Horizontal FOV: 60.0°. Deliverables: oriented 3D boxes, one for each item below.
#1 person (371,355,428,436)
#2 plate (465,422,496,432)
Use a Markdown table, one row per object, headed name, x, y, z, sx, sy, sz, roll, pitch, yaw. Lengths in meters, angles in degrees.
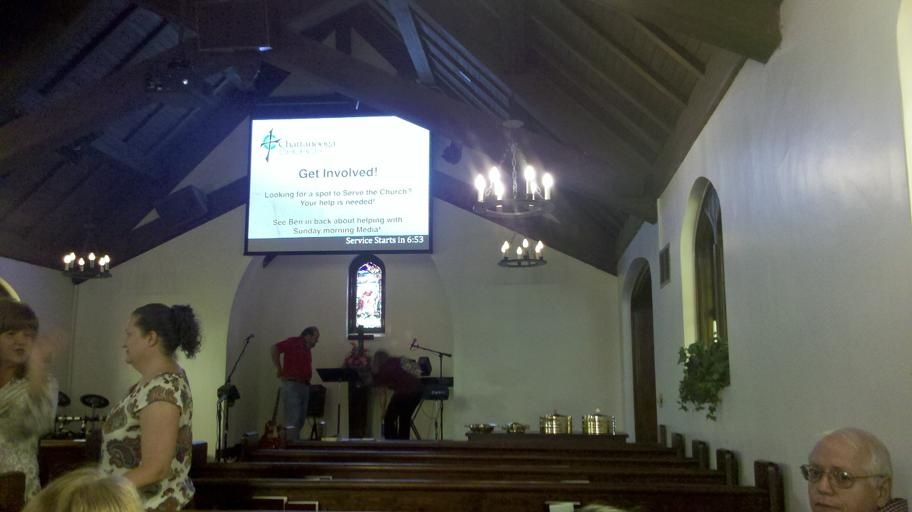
| name | x | y | z | sx | sy | sz | roll | pitch | yaw |
| --- | --- | --- | --- | --- | --- | --- | --- | --- | --- |
| person | -0.836 | 1.961 | 11.214 | 0.687 | 1.219 | 0.569 | 3 | -15 | -6 |
| plate | 0.320 | 2.111 | 9.671 | 0.258 | 0.123 | 0.665 | -1 | -14 | 7 |
